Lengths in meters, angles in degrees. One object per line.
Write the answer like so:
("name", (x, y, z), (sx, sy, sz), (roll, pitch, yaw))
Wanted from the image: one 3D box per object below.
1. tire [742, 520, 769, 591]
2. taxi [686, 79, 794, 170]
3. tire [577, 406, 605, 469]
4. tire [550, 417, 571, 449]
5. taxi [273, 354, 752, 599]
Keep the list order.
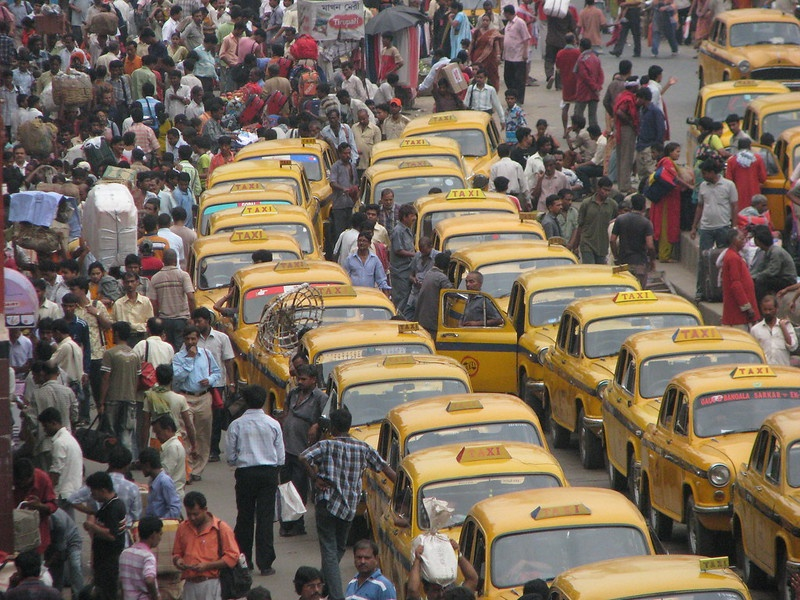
("tire", (5.207, 3.694, 32.022), (0.244, 0.785, 0.763), (-8, 29, -11))
("taxi", (7.368, -3.740, 47.556), (2.147, 2.368, 4.141), (4, -13, 11))
("tire", (3.140, 2.207, 35.696), (0.285, 0.944, 0.903), (-3, 7, -9))
("tire", (2.700, 2.206, 36.626), (0.138, 0.453, 0.435), (-7, 17, -11))
("taxi", (0.717, 2.569, 32.926), (2.574, 2.369, 4.608), (-4, 10, -17))
